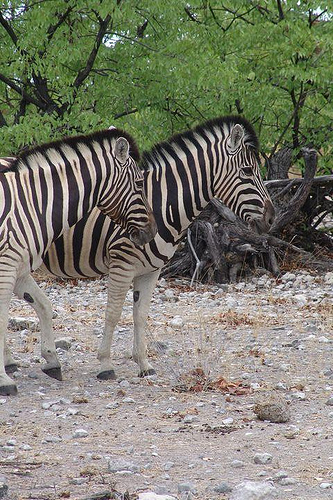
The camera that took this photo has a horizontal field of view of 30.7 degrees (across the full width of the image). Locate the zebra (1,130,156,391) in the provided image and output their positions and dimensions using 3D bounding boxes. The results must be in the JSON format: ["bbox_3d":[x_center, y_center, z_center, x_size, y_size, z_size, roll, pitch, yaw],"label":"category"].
[{"bbox_3d":[-0.897,0.079,5.259,1.047,2.264,2.432,4,10,-14],"label":"zebra"}]

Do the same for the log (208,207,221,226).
[{"bbox_3d":[0.799,-0.557,10.248,0.064,0.255,0.230,12,32,-49],"label":"log"}]

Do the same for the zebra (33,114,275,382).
[{"bbox_3d":[-0.420,0.035,5.366,3.105,2.079,0.834,-1,-3,36],"label":"zebra"}]

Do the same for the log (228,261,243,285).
[{"bbox_3d":[1.132,0.371,10.221,0.134,0.344,0.264,22,-21,-41],"label":"log"}]
